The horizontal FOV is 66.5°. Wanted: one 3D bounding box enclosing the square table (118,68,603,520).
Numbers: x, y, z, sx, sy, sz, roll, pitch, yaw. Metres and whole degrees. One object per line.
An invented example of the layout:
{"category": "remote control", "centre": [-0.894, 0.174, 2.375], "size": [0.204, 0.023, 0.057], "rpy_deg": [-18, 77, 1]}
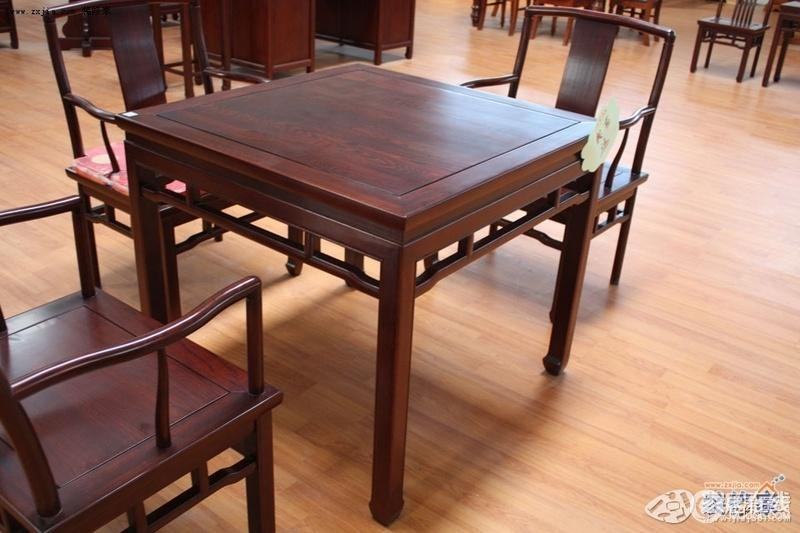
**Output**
{"category": "square table", "centre": [-0.167, -0.003, 2.461], "size": [1.761, 1.012, 1.757], "rpy_deg": [27, 38, 36]}
